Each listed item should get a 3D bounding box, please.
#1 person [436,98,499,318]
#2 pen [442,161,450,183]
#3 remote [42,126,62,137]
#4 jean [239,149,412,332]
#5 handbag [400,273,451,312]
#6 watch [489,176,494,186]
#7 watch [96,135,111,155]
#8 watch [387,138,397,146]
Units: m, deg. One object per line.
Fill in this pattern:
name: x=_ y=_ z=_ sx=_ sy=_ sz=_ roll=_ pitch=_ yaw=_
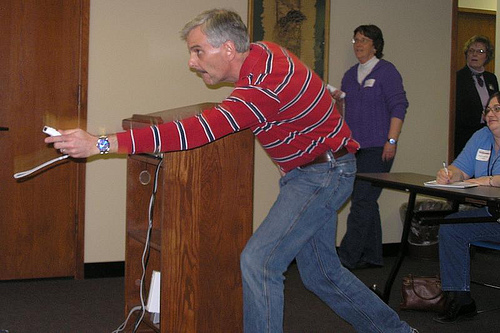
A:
person: x=1.873 y=0.353 z=3.958 sx=0.490 sy=1.864 sz=0.869 roll=4 pitch=8 yaw=23
pen: x=1.746 y=0.053 z=4.075 sx=0.027 sy=0.209 sz=0.029 roll=-10 pitch=-20 yaw=-3
remote: x=-1.015 y=-0.176 z=2.380 sx=0.078 sy=0.024 sz=0.046 roll=24 pitch=7 yaw=19
jean: x=0.402 y=0.468 z=2.818 sx=0.979 sy=1.158 sz=0.308 roll=-2 pitch=8 yaw=-21
handbag: x=1.534 y=1.101 z=3.983 sx=0.325 sy=0.248 sz=0.143 roll=2 pitch=11 yaw=2
watch: x=2.031 y=0.121 z=3.852 sx=0.027 sy=0.070 sz=0.065 roll=4 pitch=8 yaw=25
watch: x=-0.772 y=-0.118 z=2.442 sx=0.075 sy=0.091 sz=0.074 roll=0 pitch=8 yaw=-9
watch: x=1.491 y=-0.253 z=4.785 sx=0.060 sy=0.042 sz=0.069 roll=1 pitch=-9 yaw=3
